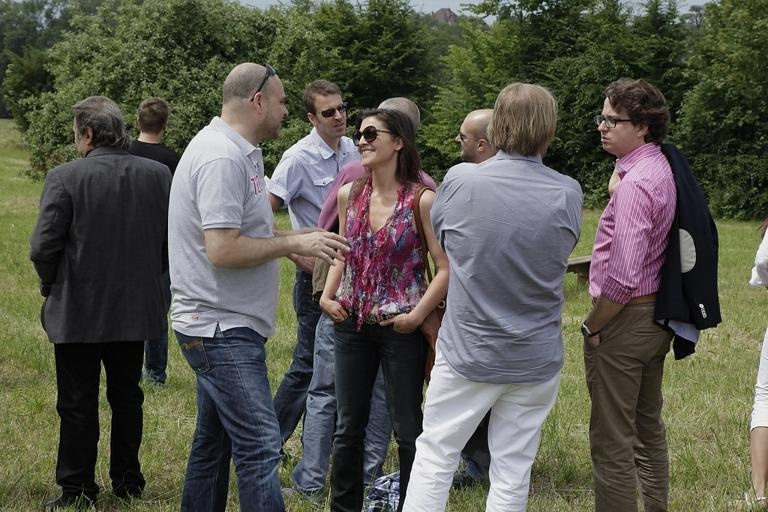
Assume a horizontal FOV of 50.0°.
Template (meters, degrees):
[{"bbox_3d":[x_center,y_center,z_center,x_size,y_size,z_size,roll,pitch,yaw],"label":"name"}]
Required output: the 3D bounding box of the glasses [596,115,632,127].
[{"bbox_3d":[1.973,-1.120,7.046,0.169,0.051,0.160,3,5,-21],"label":"glasses"}]

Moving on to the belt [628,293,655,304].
[{"bbox_3d":[2.171,0.361,6.864,0.216,0.068,0.012,1,1,-3],"label":"belt"}]

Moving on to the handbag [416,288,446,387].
[{"bbox_3d":[0.396,0.721,6.845,0.196,0.488,0.208,2,1,18],"label":"handbag"}]

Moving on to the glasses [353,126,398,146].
[{"bbox_3d":[-0.099,-1.014,7.011,0.222,0.090,0.209,4,-6,-42],"label":"glasses"}]

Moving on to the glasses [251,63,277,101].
[{"bbox_3d":[-0.975,-1.412,6.776,0.076,0.233,0.222,31,15,-10],"label":"glasses"}]

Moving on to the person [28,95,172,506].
[{"bbox_3d":[-2.590,0.390,7.516,1.184,3.691,0.384,1,1,-16],"label":"person"}]
